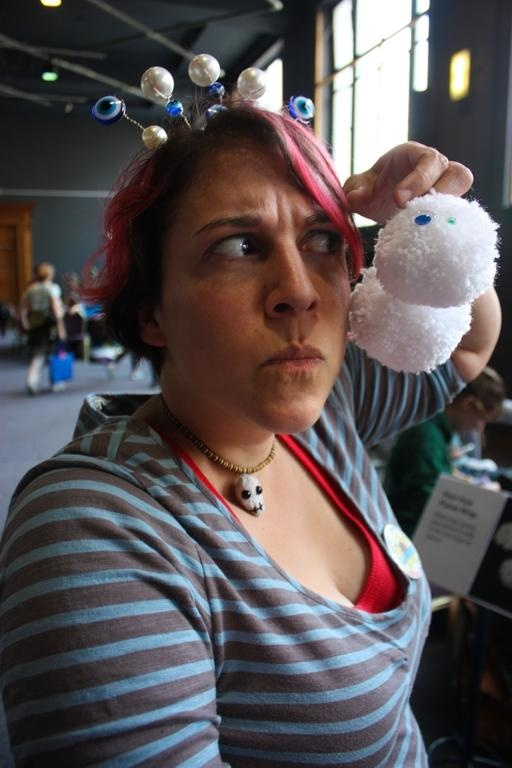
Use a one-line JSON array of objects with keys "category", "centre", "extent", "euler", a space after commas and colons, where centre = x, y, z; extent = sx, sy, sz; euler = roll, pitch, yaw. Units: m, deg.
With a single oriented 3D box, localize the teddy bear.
[{"category": "teddy bear", "centre": [0.174, -0.103, 0.728], "extent": [0.129, 0.192, 0.164], "euler": [-4, 13, -5]}]
